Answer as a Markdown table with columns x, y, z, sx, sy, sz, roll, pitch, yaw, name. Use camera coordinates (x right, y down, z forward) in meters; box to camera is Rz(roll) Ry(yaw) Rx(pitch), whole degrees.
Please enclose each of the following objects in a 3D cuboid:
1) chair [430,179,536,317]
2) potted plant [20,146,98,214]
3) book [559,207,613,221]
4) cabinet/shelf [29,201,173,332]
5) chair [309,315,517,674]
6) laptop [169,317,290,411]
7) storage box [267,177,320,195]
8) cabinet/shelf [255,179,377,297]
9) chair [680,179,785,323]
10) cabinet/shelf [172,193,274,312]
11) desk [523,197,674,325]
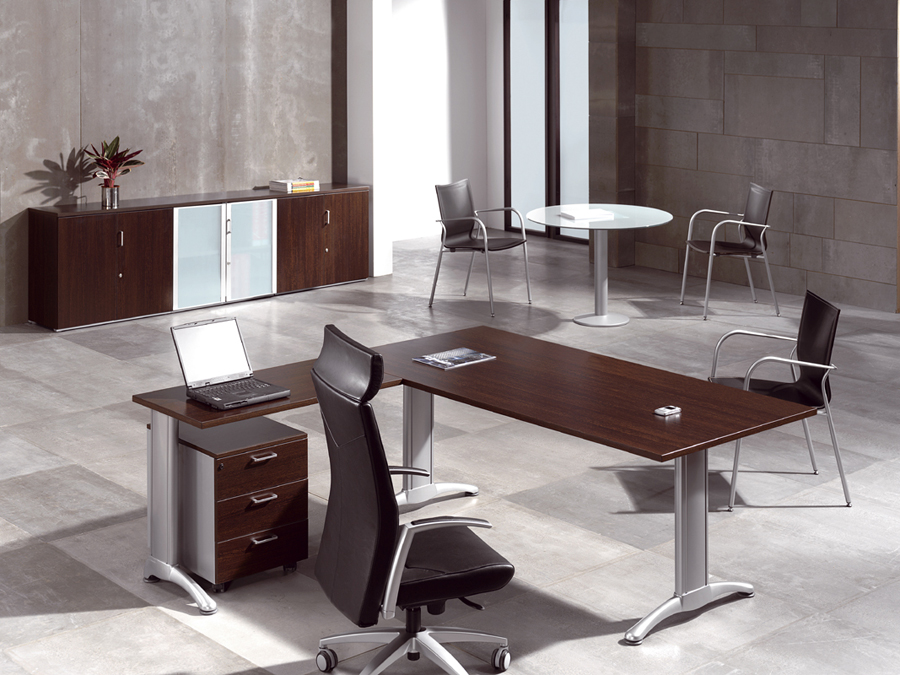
| x | y | z | sx | sy | sz | roll | pitch | yaw | name |
| --- | --- | --- | --- | --- | --- | --- | --- | --- | --- |
| 0.246 | -0.852 | 7.576 | 0.867 | 0.993 | 0.747 | 6 | 18 | 20 | chair |
| -3.340 | -1.402 | 7.119 | 0.549 | 0.451 | 0.218 | -6 | 13 | -44 | potted plant |
| 1.220 | -1.106 | 7.322 | 0.309 | 0.042 | 0.264 | -5 | 15 | -22 | book |
| -2.992 | -0.611 | 6.957 | 1.188 | 0.832 | 0.438 | -10 | 15 | -41 | cabinet/shelf |
| -0.121 | 0.624 | 3.146 | 0.937 | 1.335 | 0.926 | -5 | 16 | -15 | chair |
| -0.899 | 0.123 | 3.331 | 0.417 | 0.273 | 0.445 | -13 | 23 | -44 | laptop |
| -1.495 | -1.479 | 8.092 | 0.469 | 0.129 | 0.333 | -7 | 14 | -29 | storage box |
| -1.117 | -1.022 | 8.370 | 1.254 | 0.934 | 0.462 | -1 | 3 | 35 | cabinet/shelf |
| 2.482 | -0.782 | 7.307 | 0.970 | 0.971 | 0.961 | 8 | 19 | 35 | chair |
| -2.115 | -0.791 | 7.553 | 1.174 | 0.868 | 0.426 | -9 | 15 | -40 | cabinet/shelf |
| 1.308 | -0.768 | 7.301 | 1.367 | 0.799 | 1.246 | -8 | 19 | -20 | desk |
